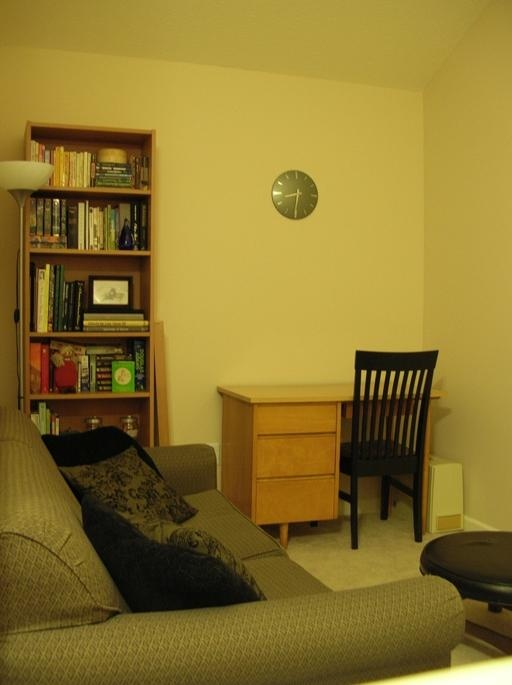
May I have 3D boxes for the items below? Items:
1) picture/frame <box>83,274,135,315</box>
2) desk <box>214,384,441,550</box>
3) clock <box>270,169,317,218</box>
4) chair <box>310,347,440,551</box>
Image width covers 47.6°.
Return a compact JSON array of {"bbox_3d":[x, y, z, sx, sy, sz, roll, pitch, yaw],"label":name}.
[{"bbox_3d":[-0.763,-0.249,2.955,0.184,0.190,0.021,1,-6,-24],"label":"picture/frame"},{"bbox_3d":[0.415,0.538,3.091,0.949,0.823,0.576,-4,17,-6],"label":"desk"},{"bbox_3d":[0.202,-0.873,3.340,0.245,0.294,0.019,-2,0,-21],"label":"clock"},{"bbox_3d":[0.635,0.511,3.059,0.506,1.037,0.547,-4,8,-39],"label":"chair"}]
